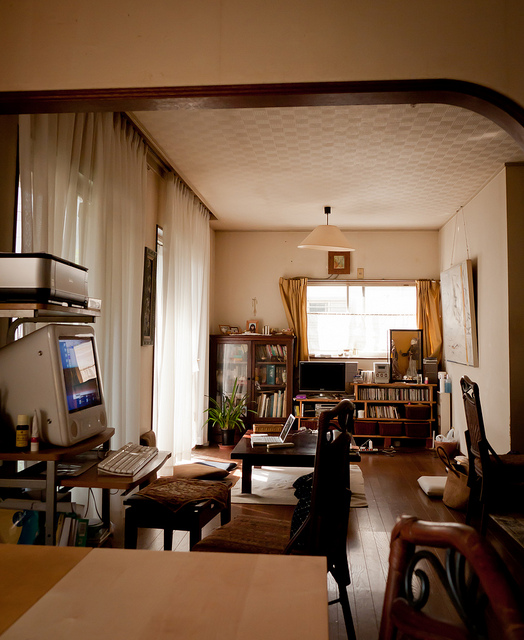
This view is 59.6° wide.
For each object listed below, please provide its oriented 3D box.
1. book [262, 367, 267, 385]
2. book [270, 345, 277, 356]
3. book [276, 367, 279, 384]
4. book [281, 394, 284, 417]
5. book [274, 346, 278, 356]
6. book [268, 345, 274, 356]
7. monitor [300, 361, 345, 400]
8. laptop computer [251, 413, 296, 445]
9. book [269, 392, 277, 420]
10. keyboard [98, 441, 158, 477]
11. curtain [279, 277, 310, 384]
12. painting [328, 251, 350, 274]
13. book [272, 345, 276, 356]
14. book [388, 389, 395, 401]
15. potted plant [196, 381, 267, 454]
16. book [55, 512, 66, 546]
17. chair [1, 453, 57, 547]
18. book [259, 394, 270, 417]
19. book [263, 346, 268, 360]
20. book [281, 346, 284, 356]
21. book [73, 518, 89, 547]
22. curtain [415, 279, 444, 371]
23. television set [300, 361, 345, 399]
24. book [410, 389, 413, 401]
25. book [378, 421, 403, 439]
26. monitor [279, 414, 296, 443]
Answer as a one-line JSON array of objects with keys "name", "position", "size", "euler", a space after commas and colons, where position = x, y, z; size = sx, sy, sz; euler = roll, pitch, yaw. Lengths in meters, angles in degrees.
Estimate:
[{"name": "book", "position": [0.028, 0.768, 6.239], "size": [0.061, 0.222, 0.046], "euler": [0, -12, -7]}, {"name": "book", "position": [0.156, 0.433, 6.308], "size": [0.064, 0.155, 0.116], "euler": [-5, 3, 4]}, {"name": "book", "position": [0.211, 0.742, 6.242], "size": [0.035, 0.172, 0.040], "euler": [0, -12, -4]}, {"name": "book", "position": [0.275, 1.123, 6.164], "size": [0.025, 0.154, 0.125], "euler": [2, 3, 7]}, {"name": "book", "position": [0.189, 0.437, 6.242], "size": [0.043, 0.109, 0.012], "euler": [2, -12, -14]}, {"name": "book", "position": [0.117, 0.423, 6.252], "size": [0.021, 0.112, 0.105], "euler": [-19, 21, 8]}, {"name": "monitor", "position": [0.811, 0.815, 6.095], "size": [0.586, 0.669, 0.181], "euler": [0, -6, 4]}, {"name": "laptop computer", "position": [0.087, 0.897, 3.977], "size": [0.260, 0.221, 0.295], "euler": [0, -5, 0]}, {"name": "book", "position": [0.158, 1.173, 6.209], "size": [0.169, 0.299, 0.276], "euler": [1, -5, 1]}, {"name": "keyboard", "position": [-0.552, 0.578, 1.905], "size": [0.200, 0.120, 0.425], "euler": [1, -15, -9]}, {"name": "curtain", "position": [0.564, 0.001, 6.744], "size": [0.368, 0.174, 1.551], "euler": [-3, -48, 5]}, {"name": "painting", "position": [1.121, -0.803, 6.596], "size": [0.228, 0.344, 0.030], "euler": [1, -5, 4]}, {"name": "book", "position": [0.160, 0.419, 6.238], "size": [0.059, 0.141, 0.024], "euler": [9, -15, -38]}, {"name": "book", "position": [1.672, 0.959, 5.948], "size": [0.081, 0.203, 0.176], "euler": [0, 0, 9]}, {"name": "potted plant", "position": [-0.440, 1.265, 6.069], "size": [0.659, 0.864, 0.753], "euler": [1, -3, -11]}, {"name": "book", "position": [-0.758, 0.769, 1.708], "size": [0.020, 0.116, 0.091], "euler": [5, 12, -19]}, {"name": "chair", "position": [-0.914, 0.694, 1.767], "size": [0.228, 0.344, 0.548], "euler": [5, -16, -24]}, {"name": "book", "position": [0.017, 1.143, 6.361], "size": [0.160, 0.386, 0.343], "euler": [3, -6, 3]}, {"name": "book", "position": [0.036, 0.449, 6.241], "size": [0.020, 0.165, 0.055], "euler": [-11, -16, 40]}, {"name": "book", "position": [0.278, 0.423, 6.233], "size": [0.020, 0.117, 0.101], "euler": [-5, -19, 7]}, {"name": "book", "position": [-0.701, 0.813, 1.757], "size": [0.032, 0.120, 0.120], "euler": [-1, -34, -10]}, {"name": "curtain", "position": [2.342, 0.068, 6.386], "size": [0.336, 1.277, 0.251], "euler": [-4, -12, 14]}, {"name": "television set", "position": [0.813, 0.811, 6.104], "size": [0.476, 0.519, 0.151], "euler": [0, -7, 4]}, {"name": "book", "position": [1.926, 0.975, 5.912], "size": [0.053, 0.124, 0.115], "euler": [0, 1, 11]}, {"name": "book", "position": [1.617, 1.379, 5.753], "size": [0.219, 0.153, 0.174], "euler": [0, -3, 0]}, {"name": "monitor", "position": [0.208, 0.922, 3.906], "size": [0.152, 0.171, 0.247], "euler": [16, -2, -1]}]
